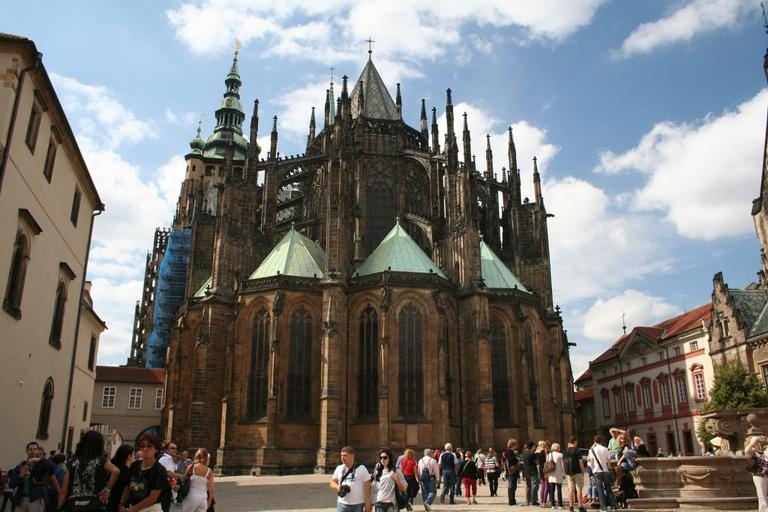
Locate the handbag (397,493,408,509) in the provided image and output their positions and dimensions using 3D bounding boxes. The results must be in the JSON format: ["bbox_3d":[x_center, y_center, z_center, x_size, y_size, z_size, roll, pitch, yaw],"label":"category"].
[{"bbox_3d":[0.514,7.021,19.275,0.250,0.410,0.456,-4,-23,5],"label":"handbag"}]

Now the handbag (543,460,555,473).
[{"bbox_3d":[5.842,7.468,23.820,0.248,0.470,0.526,26,-33,-15],"label":"handbag"}]

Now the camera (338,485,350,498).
[{"bbox_3d":[-1.058,6.230,17.831,0.247,0.321,0.333,10,-55,5],"label":"camera"}]
